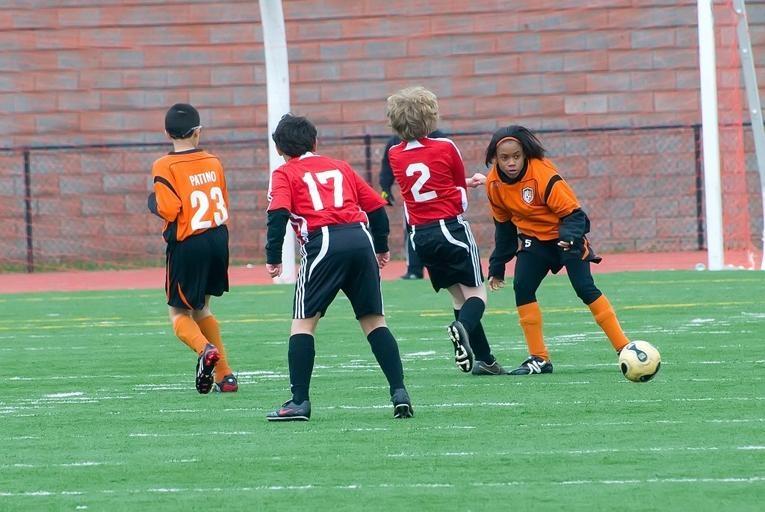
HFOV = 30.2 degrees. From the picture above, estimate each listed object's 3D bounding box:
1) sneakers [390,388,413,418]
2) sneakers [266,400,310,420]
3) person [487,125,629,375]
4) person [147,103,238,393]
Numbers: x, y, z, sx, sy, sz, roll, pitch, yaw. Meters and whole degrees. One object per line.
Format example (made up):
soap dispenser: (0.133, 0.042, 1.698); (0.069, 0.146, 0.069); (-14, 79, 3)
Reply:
sneakers: (0.213, 1.532, 14.746); (0.216, 0.301, 0.164); (-4, 4, 1)
sneakers: (-1.009, 1.624, 14.801); (0.521, 0.210, 0.178); (1, -7, 3)
person: (1.812, -0.074, 15.636); (1.340, 2.739, 0.632); (-3, 4, 5)
person: (-2.048, -0.073, 15.440); (0.802, 3.151, 0.875); (-4, 4, -7)
